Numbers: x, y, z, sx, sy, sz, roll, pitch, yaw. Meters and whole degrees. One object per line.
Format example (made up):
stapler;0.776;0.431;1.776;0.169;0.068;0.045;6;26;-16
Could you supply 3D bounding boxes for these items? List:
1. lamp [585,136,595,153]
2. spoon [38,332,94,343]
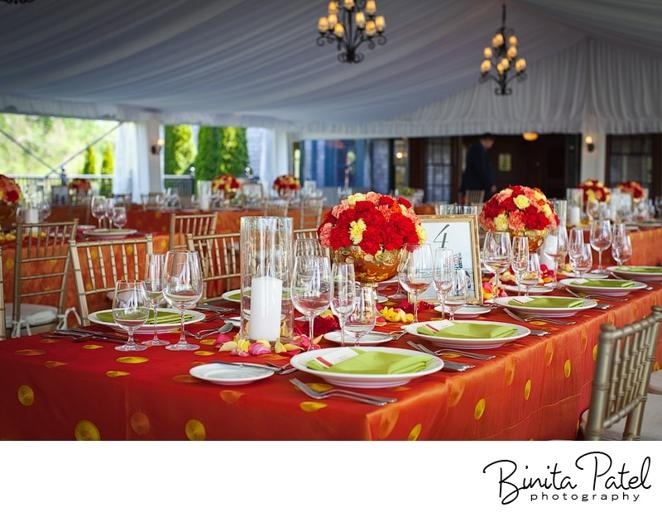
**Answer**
lamp;5.799;-2.511;12.569;0.213;0.356;0.166;0;4;19
spoon;-0.738;0.226;1.570;0.074;0.018;0.059;5;-1;-14
